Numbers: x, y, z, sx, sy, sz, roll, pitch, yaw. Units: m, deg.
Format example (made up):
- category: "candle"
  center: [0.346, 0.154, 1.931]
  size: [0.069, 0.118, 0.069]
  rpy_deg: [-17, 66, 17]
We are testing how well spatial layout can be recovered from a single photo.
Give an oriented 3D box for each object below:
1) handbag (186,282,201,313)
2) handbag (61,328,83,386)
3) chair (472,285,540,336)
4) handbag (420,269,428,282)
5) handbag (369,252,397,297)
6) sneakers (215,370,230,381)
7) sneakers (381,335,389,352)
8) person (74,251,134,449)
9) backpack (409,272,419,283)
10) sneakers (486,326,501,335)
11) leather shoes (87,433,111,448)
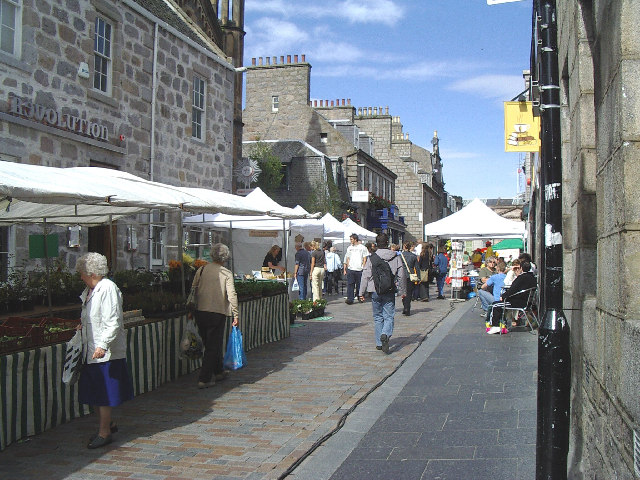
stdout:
- category: "handbag"
  center: [-1.719, 0.805, 9.682]
  size: [0.126, 0.398, 0.368]
  rpy_deg: [5, -13, -6]
- category: "handbag"
  center: [-2.522, 1.224, 7.308]
  size: [0.112, 0.507, 0.284]
  rpy_deg: [9, -12, -7]
- category: "chair"
  center: [3.651, 1.474, 13.766]
  size: [1.097, 1.232, 1.270]
  rpy_deg: [1, -3, 13]
- category: "handbag"
  center: [3.112, 1.052, 21.334]
  size: [0.256, 0.403, 0.384]
  rpy_deg: [-1, 5, -8]
- category: "handbag"
  center: [1.026, 0.579, 11.730]
  size: [0.346, 0.654, 0.624]
  rpy_deg: [-5, -20, -7]
- category: "sneakers"
  center: [-1.366, 1.908, 9.926]
  size: [0.072, 0.111, 0.225]
  rpy_deg: [3, 7, 26]
- category: "sneakers"
  center: [1.068, 1.712, 11.649]
  size: [0.096, 0.283, 0.110]
  rpy_deg: [-3, -5, 11]
- category: "person"
  center: [-2.238, 1.224, 7.340]
  size: [0.492, 1.780, 0.346]
  rpy_deg: [-1, 1, -16]
- category: "backpack"
  center: [2.470, 1.002, 18.669]
  size: [0.316, 0.266, 0.193]
  rpy_deg: [1, -14, -24]
- category: "sneakers"
  center: [3.244, 1.709, 13.291]
  size: [0.207, 0.102, 0.120]
  rpy_deg: [-13, 4, 32]
- category: "leather shoes"
  center: [-2.246, 2.068, 7.239]
  size: [0.201, 0.090, 0.106]
  rpy_deg: [2, -3, -23]
